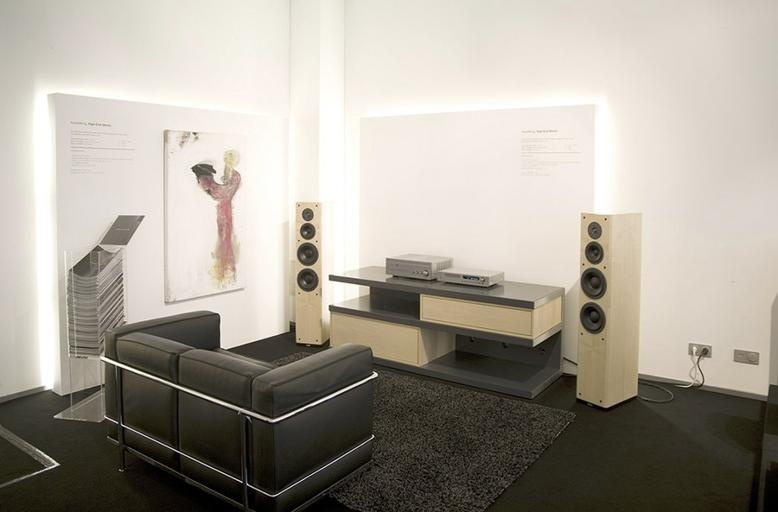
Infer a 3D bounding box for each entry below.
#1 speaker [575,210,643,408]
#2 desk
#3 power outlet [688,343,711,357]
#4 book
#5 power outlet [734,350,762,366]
[{"bbox_3d":[2.030,0.481,5.011,0.582,1.722,0.371,-2,10,-15],"label":"speaker"},{"bbox_3d":[0.512,0.688,5.985,2.422,0.952,0.871,6,10,35],"label":"desk"},{"bbox_3d":[2.961,0.885,5.259,0.198,0.134,0.047,9,6,33],"label":"power outlet"},{"bbox_3d":[-2.634,0.425,4.931,0.344,0.972,0.967,1,2,-1],"label":"book"},{"bbox_3d":[3.325,0.937,5.110,0.146,0.106,0.023,6,12,35],"label":"power outlet"}]
